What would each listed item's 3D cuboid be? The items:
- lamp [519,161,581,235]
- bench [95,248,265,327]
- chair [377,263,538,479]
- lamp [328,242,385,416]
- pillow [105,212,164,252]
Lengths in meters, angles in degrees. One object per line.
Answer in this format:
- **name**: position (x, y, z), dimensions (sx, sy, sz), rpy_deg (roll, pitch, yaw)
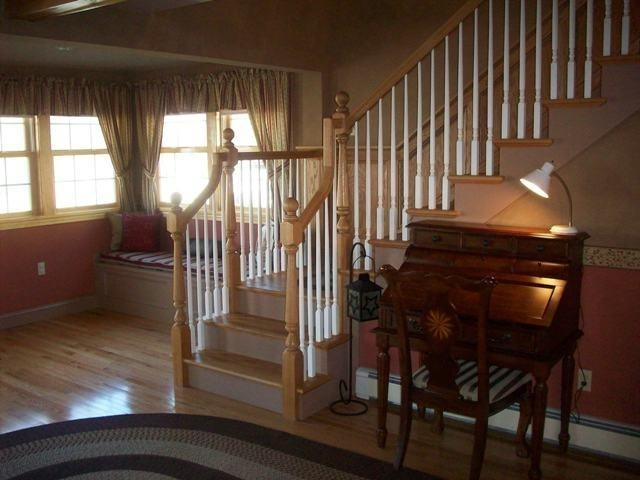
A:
- **lamp**: position (1.499, -0.283, 3.523), dimensions (0.365, 0.457, 0.353), rpy_deg (3, 12, 21)
- **bench**: position (-2.123, 0.519, 6.781), dimensions (1.090, 0.654, 0.809), rpy_deg (9, 13, 3)
- **chair**: position (0.835, 0.798, 3.374), dimensions (0.933, 1.325, 0.505), rpy_deg (4, 11, 23)
- **lamp**: position (0.325, 0.675, 4.107), dimensions (0.459, 1.310, 0.530), rpy_deg (4, 12, 27)
- **pillow**: position (-2.337, -0.097, 6.931), dimensions (0.714, 0.481, 0.482), rpy_deg (-4, 12, -14)
